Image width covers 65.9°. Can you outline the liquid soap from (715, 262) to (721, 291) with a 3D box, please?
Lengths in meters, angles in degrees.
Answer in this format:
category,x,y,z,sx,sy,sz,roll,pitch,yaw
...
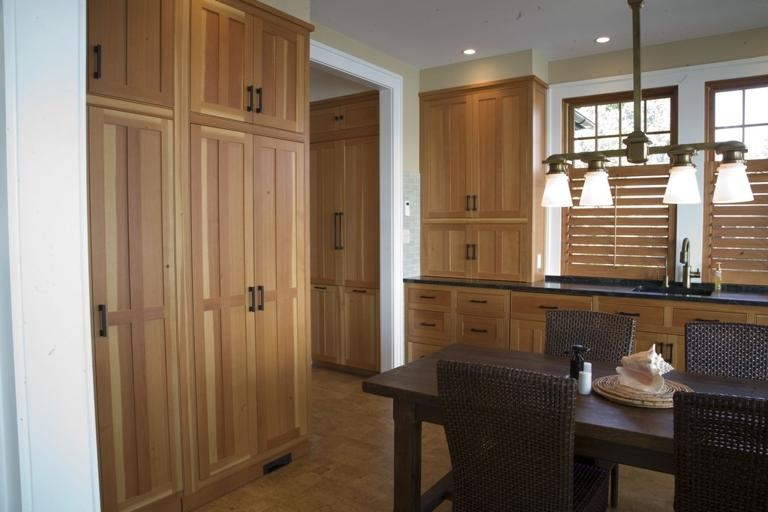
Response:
category,x,y,z,sx,sy,sz,roll,pitch,yaw
liquid soap,2.605,0.157,4.620,0.056,0.201,0.165,5,10,29

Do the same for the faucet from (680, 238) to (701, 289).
category,x,y,z,sx,sy,sz,roll,pitch,yaw
faucet,2.433,0.048,4.718,0.155,0.389,0.163,4,10,26

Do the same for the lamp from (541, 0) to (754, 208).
category,x,y,z,sx,sy,sz,roll,pitch,yaw
lamp,1.976,-1.150,4.319,1.548,1.388,0.353,3,8,32
